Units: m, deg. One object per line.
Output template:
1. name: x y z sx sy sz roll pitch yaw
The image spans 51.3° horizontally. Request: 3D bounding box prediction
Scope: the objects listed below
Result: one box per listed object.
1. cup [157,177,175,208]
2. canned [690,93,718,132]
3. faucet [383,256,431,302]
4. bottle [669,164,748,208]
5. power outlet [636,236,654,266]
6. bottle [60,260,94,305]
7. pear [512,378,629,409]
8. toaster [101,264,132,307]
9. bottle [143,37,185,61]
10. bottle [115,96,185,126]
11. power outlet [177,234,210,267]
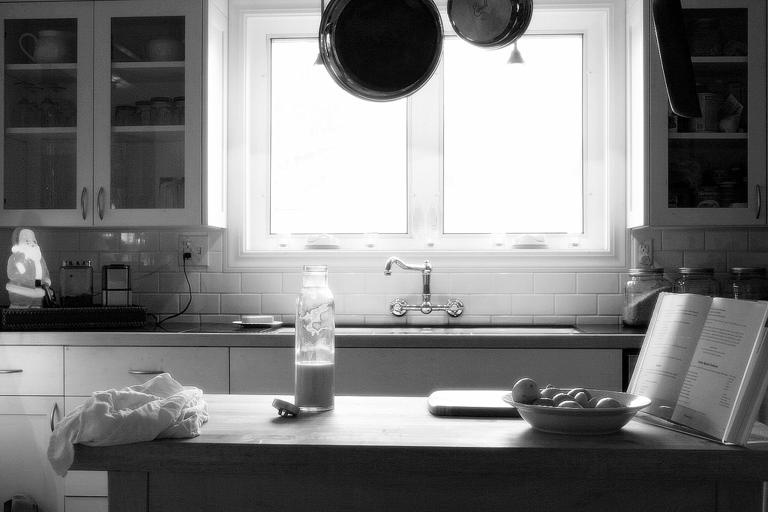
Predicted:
1. cup: -1.295 -0.373 4.756 0.105 0.180 0.054 2 9 -3
2. canned: 1.856 -0.817 4.691 0.181 0.221 0.169 -2 0 14
3. faucet: 0.149 0.144 4.929 0.311 0.270 0.206 1 9 -7
4. bottle: 1.890 -0.390 4.636 0.351 0.281 0.077 2 -7 7
5. power outlet: 1.635 -0.013 4.936 0.117 0.136 0.051 1 -4 5
6. bottle: -1.864 0.166 4.836 0.188 0.252 0.257 -1 9 -20
7. pear: 0.790 0.575 3.343 0.286 0.084 0.268 2 -9 -6
8. toaster: -1.593 0.181 4.875 0.265 0.235 0.251 -2 2 -31
9. bottle: -1.314 -1.224 4.777 0.180 0.151 0.034 -2 3 4
10. bottle: -1.395 -0.853 4.759 0.578 0.151 0.172 0 -1 5
11. power outlet: -1.203 -0.040 5.058 0.232 0.193 0.112 1 -3 -1
